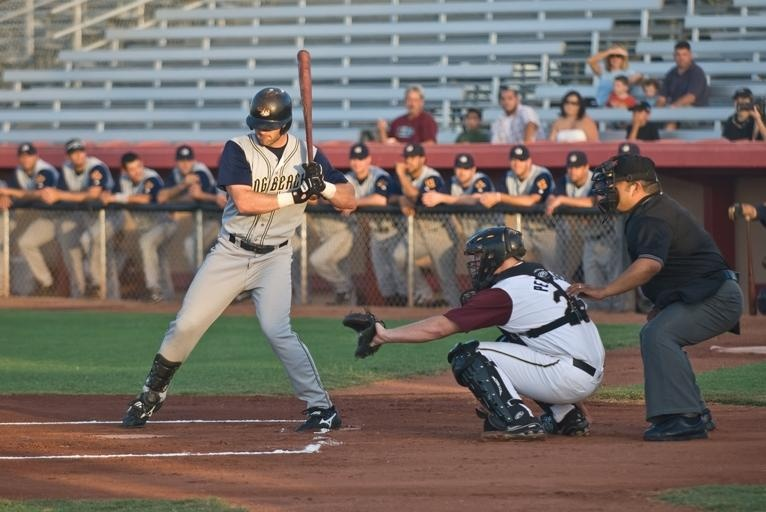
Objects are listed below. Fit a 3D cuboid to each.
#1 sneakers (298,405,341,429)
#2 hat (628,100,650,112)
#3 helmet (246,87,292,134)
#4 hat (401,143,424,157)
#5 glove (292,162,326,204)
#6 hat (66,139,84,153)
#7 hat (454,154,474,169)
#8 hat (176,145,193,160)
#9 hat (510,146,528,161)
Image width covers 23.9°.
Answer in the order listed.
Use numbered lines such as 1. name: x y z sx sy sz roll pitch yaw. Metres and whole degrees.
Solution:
1. sneakers: -0.732 1.868 20.770 0.471 0.277 0.241 -1 4 1
2. hat: 3.704 -2.175 26.204 0.260 0.082 0.155 2 2 -14
3. helmet: -1.265 -1.664 20.804 0.448 0.392 0.553 10 0 28
4. hat: 0.430 -1.475 25.437 0.285 0.188 0.304 -1 4 1
5. glove: -0.874 -0.837 20.739 0.400 0.469 0.246 -2 4 -13
6. hat: -4.459 -1.573 26.053 0.198 0.142 0.299 -7 -7 -25
7. hat: 1.138 -1.333 25.463 0.253 0.202 0.253 -1 4 3
8. hat: -2.858 -1.498 26.334 0.236 0.157 0.235 -4 -7 42
9. hat: 1.906 -1.441 25.322 0.262 0.219 0.278 -1 4 1
